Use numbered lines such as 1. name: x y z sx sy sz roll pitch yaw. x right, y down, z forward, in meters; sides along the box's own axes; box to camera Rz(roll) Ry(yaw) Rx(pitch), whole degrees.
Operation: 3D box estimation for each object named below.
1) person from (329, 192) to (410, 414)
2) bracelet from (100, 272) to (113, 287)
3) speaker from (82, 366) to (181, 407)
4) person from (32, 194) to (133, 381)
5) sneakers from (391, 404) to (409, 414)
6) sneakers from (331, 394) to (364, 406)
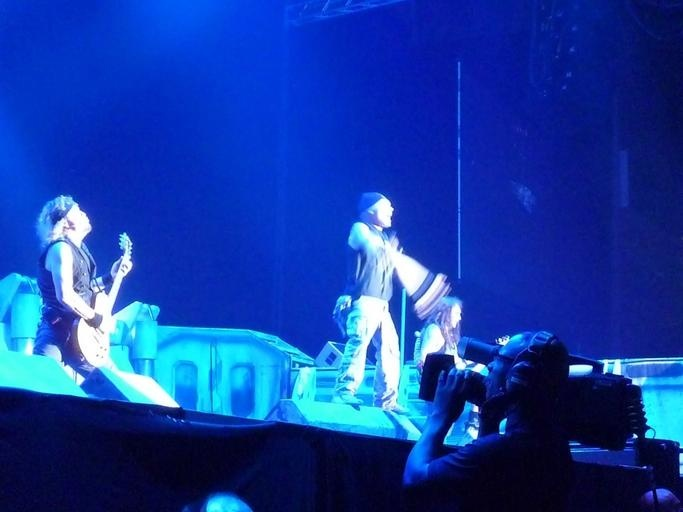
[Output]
1. person: 0.242 0.392 7.631 0.618 1.970 0.356 2 -6 3
2. bracelet: -2.010 0.205 7.145 0.090 0.097 0.088 19 -17 -36
3. speaker: -1.643 1.010 6.477 0.304 0.264 0.797 -2 -9 31
4. person: -2.202 0.239 6.785 0.535 1.450 0.364 4 -6 -21
5. sneakers: 0.518 1.359 7.419 0.141 0.068 0.068 0 0 31
6. sneakers: 0.060 1.285 7.396 0.255 0.134 0.104 2 -7 5
